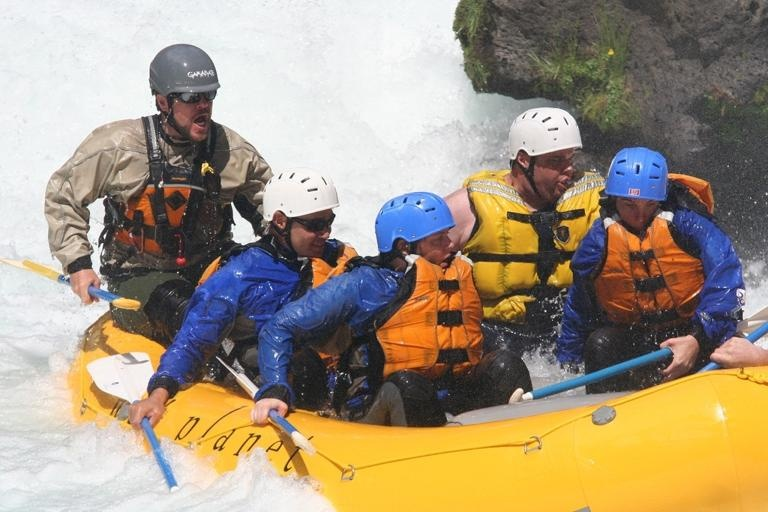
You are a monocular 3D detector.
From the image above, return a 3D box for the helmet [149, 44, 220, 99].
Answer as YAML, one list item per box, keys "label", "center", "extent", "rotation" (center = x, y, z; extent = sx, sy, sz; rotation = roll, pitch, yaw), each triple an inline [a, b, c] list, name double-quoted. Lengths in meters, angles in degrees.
- label: "helmet"
  center: [-1.875, -1.785, 10.009]
  extent: [0.488, 0.480, 0.600]
  rotation: [-19, 29, -39]

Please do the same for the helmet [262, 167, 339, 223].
- label: "helmet"
  center: [-0.771, -0.571, 9.451]
  extent: [0.579, 0.443, 0.473]
  rotation: [8, 11, 35]

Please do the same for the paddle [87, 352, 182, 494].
- label: "paddle"
  center: [-2.140, 1.350, 8.951]
  extent: [0.518, 0.085, 1.744]
  rotation: [-13, 41, -17]

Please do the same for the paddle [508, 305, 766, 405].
- label: "paddle"
  center: [2.253, 0.875, 9.110]
  extent: [2.215, 0.171, 0.231]
  rotation: [-18, 25, -4]

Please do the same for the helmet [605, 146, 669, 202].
- label: "helmet"
  center: [2.352, -0.828, 9.621]
  extent: [0.431, 0.556, 0.455]
  rotation: [8, 14, 13]

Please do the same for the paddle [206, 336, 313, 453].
- label: "paddle"
  center: [-1.020, 1.197, 8.810]
  extent: [0.172, 0.182, 1.708]
  rotation: [35, 2, -44]

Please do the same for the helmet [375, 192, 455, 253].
- label: "helmet"
  center: [0.282, -0.282, 9.049]
  extent: [0.638, 0.485, 0.490]
  rotation: [0, 5, 13]
